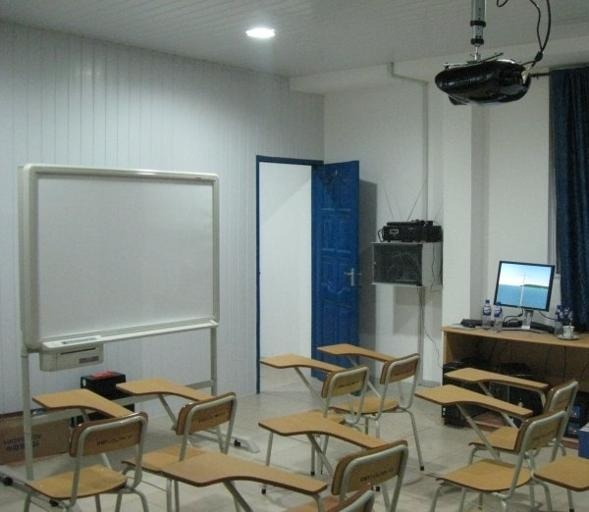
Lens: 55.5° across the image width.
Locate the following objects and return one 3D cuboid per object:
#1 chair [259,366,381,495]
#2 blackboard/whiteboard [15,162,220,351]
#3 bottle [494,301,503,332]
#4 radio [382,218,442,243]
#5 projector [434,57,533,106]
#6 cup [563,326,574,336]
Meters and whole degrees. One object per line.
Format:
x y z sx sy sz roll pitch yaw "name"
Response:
0.194 1.186 3.935 0.665 0.947 0.586 -1 1 34 "chair"
-1.267 0.008 4.341 0.159 1.322 1.610 4 5 43 "blackboard/whiteboard"
1.914 0.580 5.284 0.063 0.227 0.186 0 2 16 "bottle"
1.266 -0.258 6.026 0.638 0.226 0.351 -1 2 9 "radio"
1.083 -0.971 3.276 0.409 0.184 0.297 9 15 42 "projector"
2.369 0.648 4.836 0.068 0.092 0.089 0 -2 -17 "cup"
